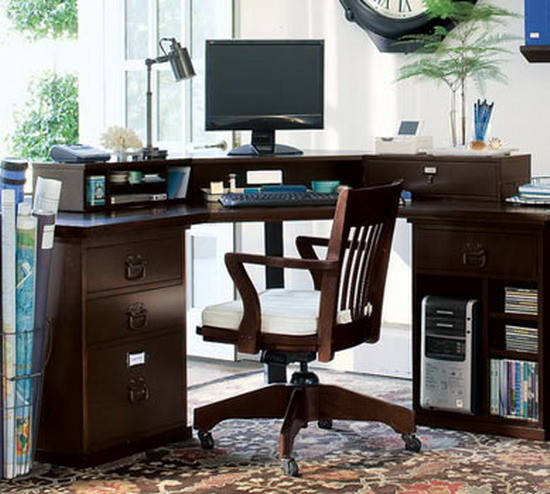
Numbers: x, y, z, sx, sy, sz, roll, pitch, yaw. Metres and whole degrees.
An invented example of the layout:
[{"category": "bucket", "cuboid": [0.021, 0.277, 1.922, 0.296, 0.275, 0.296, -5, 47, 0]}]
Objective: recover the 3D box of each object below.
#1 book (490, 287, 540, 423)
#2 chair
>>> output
[{"category": "book", "cuboid": [0.886, 0.399, 2.161, 0.170, 0.494, 0.071, 0, 2, 26]}, {"category": "chair", "cuboid": [0.028, 0.184, 2.364, 0.940, 1.049, 0.932, 3, 5, 26]}]
